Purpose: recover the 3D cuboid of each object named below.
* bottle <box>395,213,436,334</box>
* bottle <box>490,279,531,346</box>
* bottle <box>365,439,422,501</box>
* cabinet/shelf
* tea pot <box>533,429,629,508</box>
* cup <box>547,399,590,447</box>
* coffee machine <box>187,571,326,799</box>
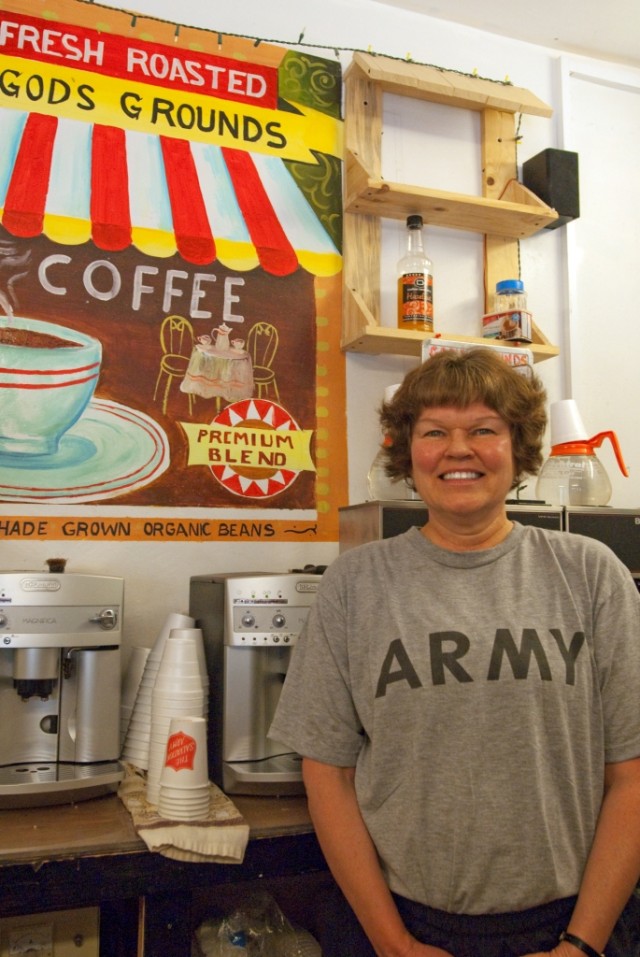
[{"bbox_3d":[0.241,-0.503,2.109,0.094,0.300,0.263,-1,2,7],"label":"bottle"},{"bbox_3d":[0.504,-0.429,2.181,0.097,0.175,0.252,-1,2,12],"label":"bottle"},{"bbox_3d":[0.158,-0.011,1.800,0.112,0.110,0.108,2,-23,-5],"label":"bottle"},{"bbox_3d":[0.327,-0.698,2.160,0.534,0.733,0.220,1,-2,-20],"label":"cabinet/shelf"},{"bbox_3d":[0.619,-0.027,1.919,0.196,0.191,0.147,2,13,34],"label":"tea pot"},{"bbox_3d":[0.561,-0.128,1.945,0.102,0.111,0.103,-6,-7,-1],"label":"cup"},{"bbox_3d":[-0.054,0.393,1.585,0.225,0.386,0.354,-1,-14,10],"label":"coffee machine"}]
